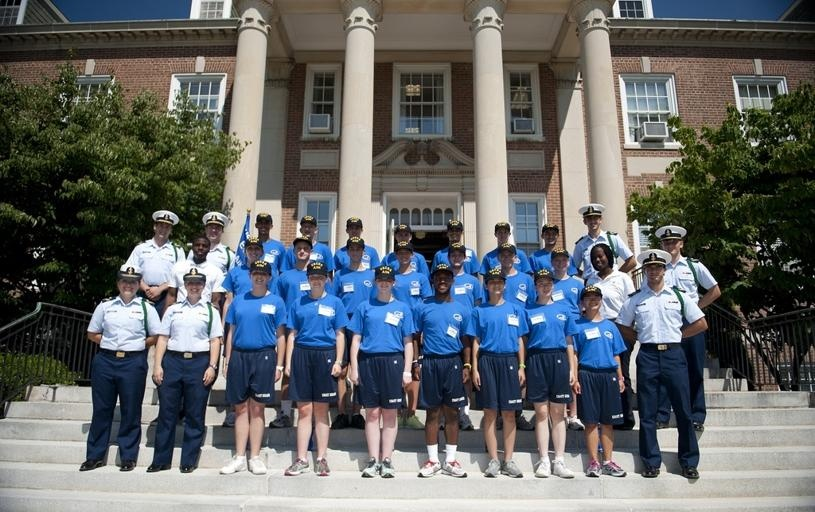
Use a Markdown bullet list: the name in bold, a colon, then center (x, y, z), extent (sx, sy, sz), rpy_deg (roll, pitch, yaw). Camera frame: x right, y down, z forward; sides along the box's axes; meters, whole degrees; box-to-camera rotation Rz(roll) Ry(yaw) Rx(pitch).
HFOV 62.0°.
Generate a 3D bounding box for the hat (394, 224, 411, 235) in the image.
- **hat**: center (-0.116, -0.645, 16.525), extent (0.330, 0.162, 0.483), rpy_deg (0, -3, 0)

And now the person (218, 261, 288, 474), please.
- **person**: center (-3.070, 2.175, 13.575), extent (1.208, 4.172, 0.469), rpy_deg (2, -7, -10)

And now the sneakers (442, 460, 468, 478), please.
- **sneakers**: center (0.933, 4.125, 13.162), extent (0.451, 0.290, 0.206), rpy_deg (0, -6, 3)

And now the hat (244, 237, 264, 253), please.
- **hat**: center (-3.354, -0.286, 14.841), extent (0.381, 0.315, 0.294), rpy_deg (2, -6, -13)

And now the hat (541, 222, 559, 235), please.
- **hat**: center (3.330, -0.636, 15.596), extent (0.487, 0.249, 0.322), rpy_deg (5, -7, -41)

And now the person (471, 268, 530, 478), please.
- **person**: center (1.854, 2.288, 13.486), extent (1.076, 4.038, 0.380), rpy_deg (0, -7, 8)

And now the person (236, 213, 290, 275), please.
- **person**: center (-3.593, -0.283, 16.642), extent (1.470, 2.005, 0.689), rpy_deg (0, -12, -14)

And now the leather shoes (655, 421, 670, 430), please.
- **leather shoes**: center (5.375, 3.546, 14.197), extent (0.294, 0.122, 0.105), rpy_deg (12, -14, -30)

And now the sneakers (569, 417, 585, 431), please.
- **sneakers**: center (3.503, 3.499, 14.060), extent (0.368, 0.166, 0.144), rpy_deg (-7, -7, 37)

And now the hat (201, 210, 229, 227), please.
- **hat**: center (-4.465, -0.864, 15.673), extent (0.449, 0.331, 0.367), rpy_deg (0, -6, 3)

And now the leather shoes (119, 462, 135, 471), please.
- **leather shoes**: center (-5.507, 4.142, 13.327), extent (0.291, 0.132, 0.216), rpy_deg (3, -6, -22)

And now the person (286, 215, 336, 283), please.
- **person**: center (-2.263, 0.161, 15.669), extent (1.318, 2.260, 0.632), rpy_deg (2, -17, -21)

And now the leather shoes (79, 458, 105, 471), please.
- **leather shoes**: center (-6.240, 4.141, 13.393), extent (0.157, 0.179, 0.418), rpy_deg (-7, -18, 28)

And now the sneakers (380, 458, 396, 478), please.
- **sneakers**: center (-0.372, 4.105, 13.108), extent (0.279, 0.343, 0.145), rpy_deg (1, -6, -7)

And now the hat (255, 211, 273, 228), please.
- **hat**: center (-3.310, -0.861, 15.627), extent (0.330, 0.302, 0.391), rpy_deg (2, -6, -17)

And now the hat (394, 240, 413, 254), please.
- **hat**: center (-0.048, -0.212, 14.722), extent (0.399, 0.267, 0.546), rpy_deg (3, 10, 6)

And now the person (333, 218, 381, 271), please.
- **person**: center (-1.264, -0.272, 17.085), extent (1.217, 1.736, 0.608), rpy_deg (-1, -11, -1)

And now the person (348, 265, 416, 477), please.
- **person**: center (-0.504, 2.243, 13.408), extent (1.278, 4.084, 0.356), rpy_deg (1, -7, -4)

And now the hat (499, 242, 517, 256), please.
- **hat**: center (2.179, -0.146, 14.657), extent (0.357, 0.280, 0.288), rpy_deg (1, -6, 2)

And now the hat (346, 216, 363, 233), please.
- **hat**: center (-1.230, -0.725, 15.824), extent (0.316, 0.356, 0.495), rpy_deg (2, -6, -7)

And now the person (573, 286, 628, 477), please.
- **person**: center (3.813, 2.441, 13.444), extent (0.910, 3.705, 0.431), rpy_deg (-1, -7, 15)

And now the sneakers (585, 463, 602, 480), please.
- **sneakers**: center (3.658, 4.141, 13.183), extent (0.326, 0.276, 0.218), rpy_deg (1, -6, -3)

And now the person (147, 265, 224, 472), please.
- **person**: center (-4.435, 2.258, 13.572), extent (1.256, 3.972, 0.341), rpy_deg (3, -7, -15)

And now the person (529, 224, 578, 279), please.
- **person**: center (3.842, -0.123, 17.428), extent (1.211, 1.767, 0.565), rpy_deg (0, -23, 10)

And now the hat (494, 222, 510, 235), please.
- **hat**: center (2.172, -0.648, 15.384), extent (0.310, 0.264, 0.395), rpy_deg (-1, -6, 15)

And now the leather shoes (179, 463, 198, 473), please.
- **leather shoes**: center (-4.264, 4.154, 13.302), extent (0.335, 0.155, 0.273), rpy_deg (4, -6, -34)

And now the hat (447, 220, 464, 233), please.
- **hat**: center (1.118, -0.692, 15.629), extent (0.284, 0.299, 0.331), rpy_deg (-1, -6, 15)

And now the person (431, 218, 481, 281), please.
- **person**: center (1.165, 0.201, 15.824), extent (1.129, 2.234, 0.705), rpy_deg (-1, -14, -5)

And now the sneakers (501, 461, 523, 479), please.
- **sneakers**: center (2.051, 4.139, 13.198), extent (0.422, 0.294, 0.247), rpy_deg (0, -6, 11)

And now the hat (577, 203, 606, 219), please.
- **hat**: center (4.254, -1.046, 15.592), extent (0.461, 0.358, 0.543), rpy_deg (0, -6, 9)

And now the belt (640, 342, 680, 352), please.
- **belt**: center (5.056, 1.819, 13.529), extent (0.748, 0.178, 0.198), rpy_deg (-1, -6, 21)

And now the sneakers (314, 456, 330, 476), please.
- **sneakers**: center (-1.648, 4.086, 13.187), extent (0.285, 0.352, 0.225), rpy_deg (2, -6, -8)

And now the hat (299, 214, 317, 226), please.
- **hat**: center (-2.294, -0.819, 15.811), extent (0.283, 0.233, 0.493), rpy_deg (1, -5, 2)

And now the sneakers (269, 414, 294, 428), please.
- **sneakers**: center (-2.593, 3.428, 14.047), extent (0.537, 0.240, 0.201), rpy_deg (1, -8, -16)

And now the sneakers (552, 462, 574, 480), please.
- **sneakers**: center (3.018, 4.154, 13.161), extent (0.432, 0.307, 0.214), rpy_deg (-5, -10, 28)

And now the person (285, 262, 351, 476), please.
- **person**: center (-1.822, 2.206, 13.475), extent (1.180, 4.143, 0.502), rpy_deg (2, -7, -8)

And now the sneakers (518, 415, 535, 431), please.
- **sneakers**: center (2.531, 3.494, 14.117), extent (0.442, 0.197, 0.176), rpy_deg (-5, -6, 25)

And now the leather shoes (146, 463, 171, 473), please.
- **leather shoes**: center (-4.893, 4.160, 13.293), extent (0.394, 0.164, 0.157), rpy_deg (16, -17, -33)

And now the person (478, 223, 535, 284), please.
- **person**: center (2.414, -0.052, 16.746), extent (1.419, 2.328, 0.755), rpy_deg (-1, 1, 9)
